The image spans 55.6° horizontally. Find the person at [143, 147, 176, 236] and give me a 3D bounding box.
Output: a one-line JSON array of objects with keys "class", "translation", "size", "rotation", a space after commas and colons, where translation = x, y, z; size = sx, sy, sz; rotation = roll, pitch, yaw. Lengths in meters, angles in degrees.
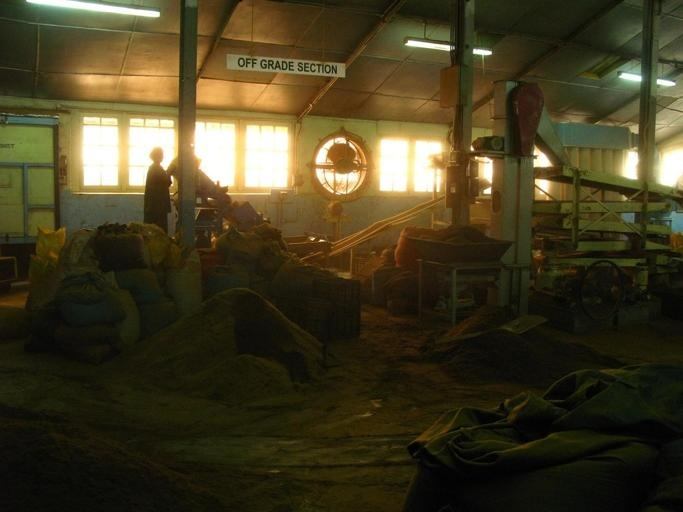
[{"class": "person", "translation": [-2.859, -1.017, 9.961], "size": [0.390, 1.284, 0.559], "rotation": [1, 3, -6]}]
